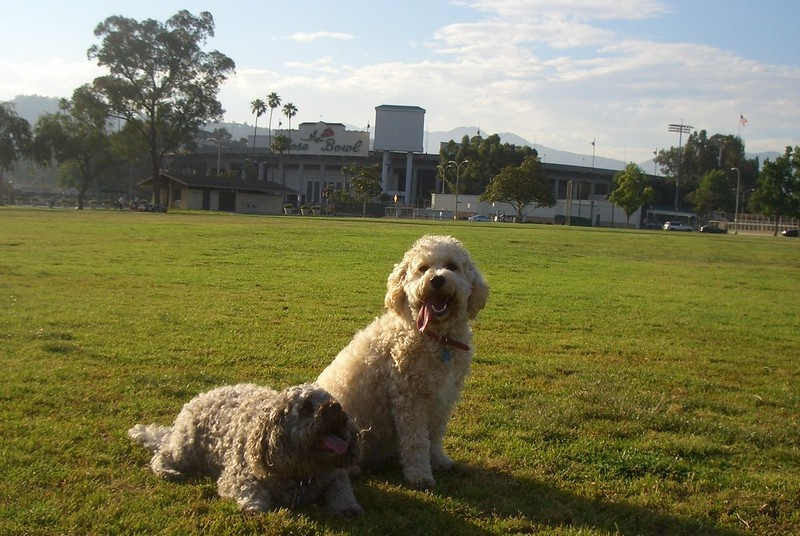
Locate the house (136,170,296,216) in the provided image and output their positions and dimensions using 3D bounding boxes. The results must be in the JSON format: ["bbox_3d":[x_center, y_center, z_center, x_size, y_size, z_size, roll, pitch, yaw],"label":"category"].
[{"bbox_3d":[-16.985,-7.573,71.125,7.441,3.712,17.389,6,4,34],"label":"house"}]

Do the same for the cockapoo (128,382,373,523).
[{"bbox_3d":[-1.309,1.494,6.266,1.824,0.792,1.065,9,5,39],"label":"cockapoo"}]

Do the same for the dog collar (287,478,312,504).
[{"bbox_3d":[-0.891,1.997,6.081,0.145,0.247,0.056,29,-10,-18],"label":"dog collar"}]
